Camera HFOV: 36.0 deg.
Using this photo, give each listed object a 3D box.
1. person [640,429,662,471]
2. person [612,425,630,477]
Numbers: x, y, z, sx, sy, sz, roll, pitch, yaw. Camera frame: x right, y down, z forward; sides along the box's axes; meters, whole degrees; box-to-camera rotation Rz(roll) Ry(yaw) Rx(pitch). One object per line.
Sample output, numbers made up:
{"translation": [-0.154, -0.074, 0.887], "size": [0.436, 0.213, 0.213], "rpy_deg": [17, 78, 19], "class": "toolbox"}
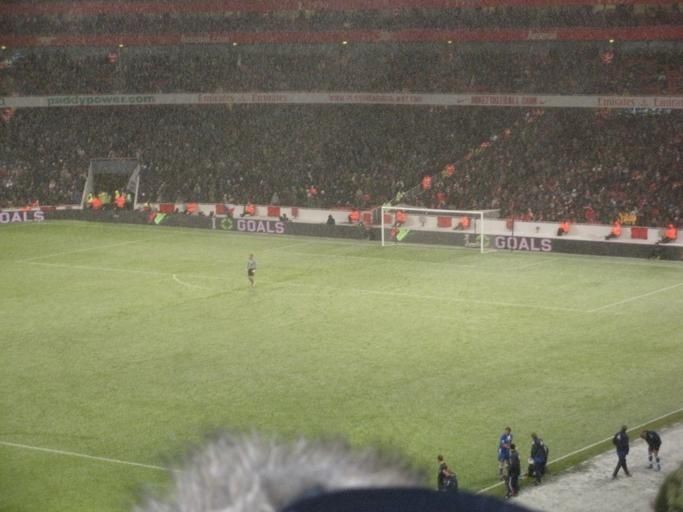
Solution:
{"translation": [9.491, 5.858, 32.242], "size": [0.579, 1.215, 0.625], "rpy_deg": [3, 8, 18], "class": "person"}
{"translation": [8.560, 5.844, 32.190], "size": [0.508, 1.545, 1.195], "rpy_deg": [2, 8, 15], "class": "person"}
